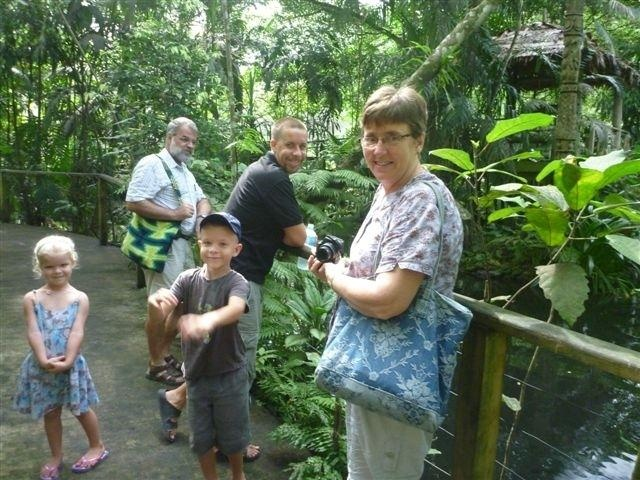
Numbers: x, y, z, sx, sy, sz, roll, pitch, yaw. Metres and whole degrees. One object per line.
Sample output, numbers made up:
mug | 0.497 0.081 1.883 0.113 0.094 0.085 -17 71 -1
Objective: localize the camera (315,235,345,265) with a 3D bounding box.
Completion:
camera | 0.059 0.050 3.708 0.157 0.163 0.168 3 11 16

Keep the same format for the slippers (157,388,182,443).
slippers | -1.142 1.330 4.605 0.180 0.454 0.148 -2 7 4

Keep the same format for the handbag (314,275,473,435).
handbag | 0.396 0.574 3.269 0.753 0.772 0.353 10 13 17

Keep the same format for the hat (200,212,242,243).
hat | -0.645 -0.089 3.935 0.258 0.179 0.125 -4 16 -36

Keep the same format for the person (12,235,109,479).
person | -1.831 0.811 4.268 0.598 1.617 0.631 -1 15 -28

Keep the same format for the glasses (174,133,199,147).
glasses | -1.250 -0.908 5.516 0.117 0.086 0.152 0 1 -27

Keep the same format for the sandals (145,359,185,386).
sandals | -1.334 1.151 5.225 0.393 0.191 0.162 9 4 18
